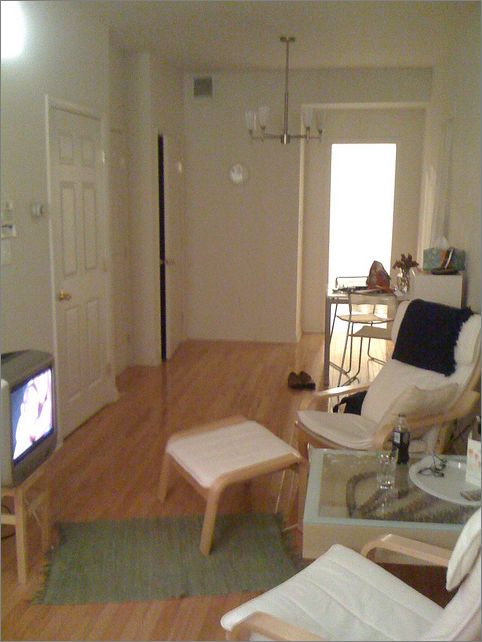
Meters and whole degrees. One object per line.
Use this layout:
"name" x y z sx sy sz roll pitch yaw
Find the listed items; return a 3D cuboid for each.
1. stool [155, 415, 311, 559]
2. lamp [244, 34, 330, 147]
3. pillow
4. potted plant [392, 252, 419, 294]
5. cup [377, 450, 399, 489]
"stool" -0.041 0.831 2.220 0.711 0.549 0.806 -8 3 -16
"lamp" 0.414 -2.106 4.597 0.683 0.857 1.695 0 8 7
"pillow" 0.804 0.336 2.051 0.438 0.191 0.136 -5 9 -29
"potted plant" 1.316 -0.381 3.780 0.167 0.302 0.696 2 9 19
"cup" 0.488 0.497 1.579 0.064 0.145 0.076 -3 15 -6
